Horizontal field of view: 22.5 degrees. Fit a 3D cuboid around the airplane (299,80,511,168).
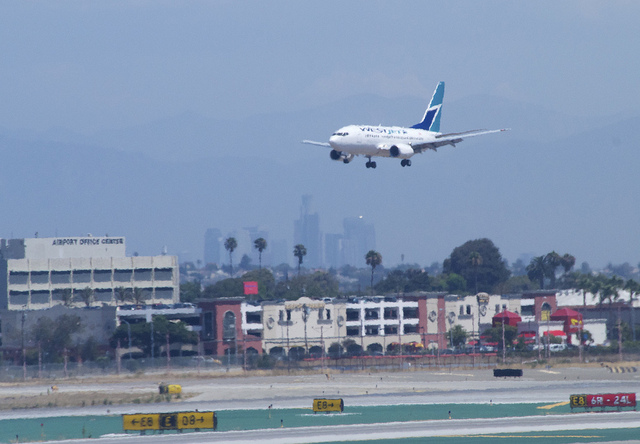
[{"bbox_3d":[12.295,-16.286,283.406,19.929,9.678,22.938,-6,-7,-9],"label":"airplane"}]
